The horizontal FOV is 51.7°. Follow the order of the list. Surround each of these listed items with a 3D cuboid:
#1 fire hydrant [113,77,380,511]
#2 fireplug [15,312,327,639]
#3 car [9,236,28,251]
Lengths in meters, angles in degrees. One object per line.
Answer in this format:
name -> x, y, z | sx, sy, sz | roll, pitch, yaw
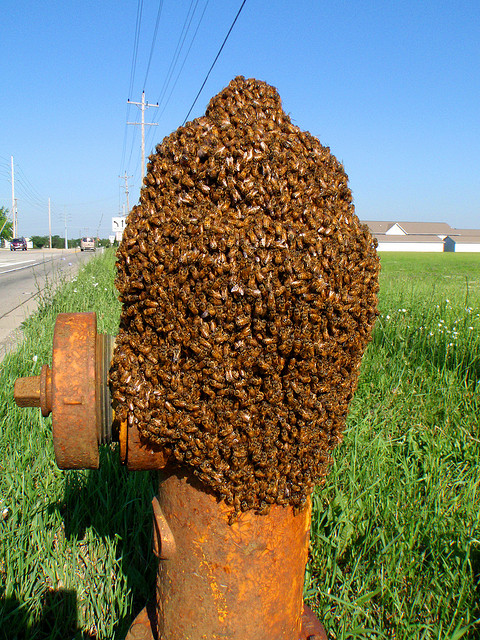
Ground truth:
fire hydrant -> 0.005, -0.081, 1.352 | 0.750, 1.270, 0.371 | 2, 6, 11
fireplug -> -0.177, 0.323, 2.092 | 0.969, 1.736, 0.744 | 4, 16, 0
car -> -22.649, -8.454, 50.820 | 1.331, 1.393, 3.245 | -3, 9, -27
